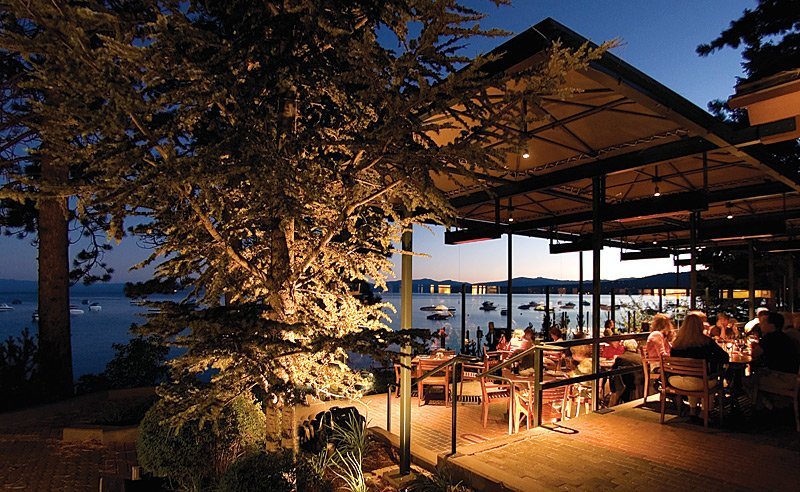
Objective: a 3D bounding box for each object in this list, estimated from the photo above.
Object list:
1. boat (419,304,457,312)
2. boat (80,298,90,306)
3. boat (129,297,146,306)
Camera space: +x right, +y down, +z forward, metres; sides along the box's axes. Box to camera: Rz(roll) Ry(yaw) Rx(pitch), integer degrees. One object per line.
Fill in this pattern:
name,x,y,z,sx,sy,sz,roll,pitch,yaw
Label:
boat,5.500,10.867,98.536,7.561,1.683,4.033,-2,-6,12
boat,-50.741,8.957,91.912,0.889,0.817,0.664,1,1,23
boat,-4.111,0.883,9.006,0.104,0.152,1.603,5,-9,-28
